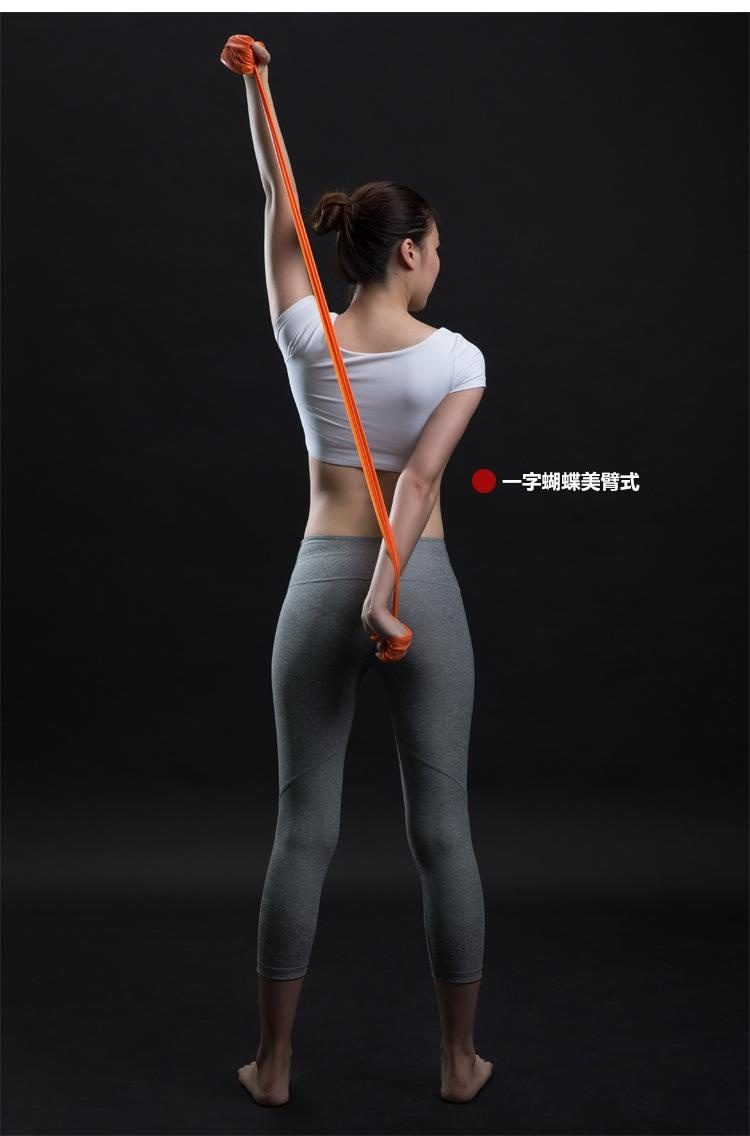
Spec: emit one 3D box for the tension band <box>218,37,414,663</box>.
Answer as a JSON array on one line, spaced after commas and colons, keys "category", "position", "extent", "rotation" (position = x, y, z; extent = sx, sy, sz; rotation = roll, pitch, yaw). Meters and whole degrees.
[{"category": "tension band", "position": [-0.083, -0.358, 1.861], "extent": [0.337, 1.029, 0.164], "rotation": [4, 6, 38]}]
